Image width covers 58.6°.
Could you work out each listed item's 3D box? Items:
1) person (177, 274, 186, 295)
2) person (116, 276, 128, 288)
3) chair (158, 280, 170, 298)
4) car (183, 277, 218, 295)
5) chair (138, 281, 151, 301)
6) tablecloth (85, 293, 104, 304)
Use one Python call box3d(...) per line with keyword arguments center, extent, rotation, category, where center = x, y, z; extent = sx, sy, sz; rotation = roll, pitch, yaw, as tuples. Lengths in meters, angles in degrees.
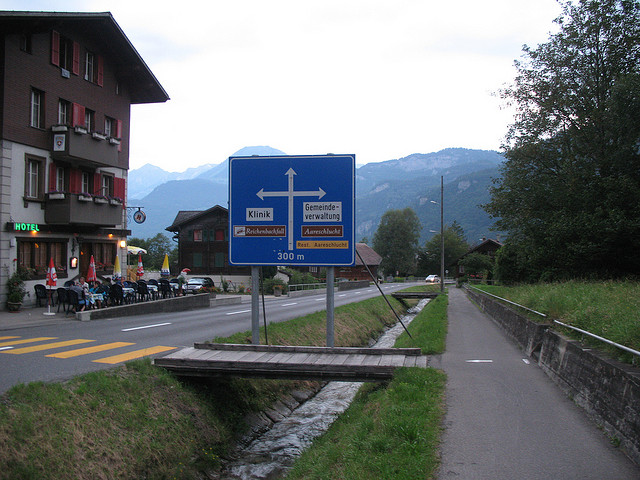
box3d(center=(-8.172, 2.518, 33.301), extent=(0.204, 1.111, 0.881), rotation=(10, 8, -1), category="person")
box3d(center=(-11.036, 2.409, 31.516), extent=(0.861, 0.574, 1.185), rotation=(3, -1, -21), category="person")
box3d(center=(-8.949, 2.911, 32.436), extent=(0.601, 1.069, 1.406), rotation=(8, 8, -14), category="chair")
box3d(center=(-8.781, 3.399, 40.868), extent=(1.159, 1.096, 2.508), rotation=(-4, -14, 13), category="car")
box3d(center=(-9.506, 2.636, 30.416), extent=(0.565, 0.708, 0.719), rotation=(8, 9, -20), category="chair")
box3d(center=(-9.986, 2.600, 25.047), extent=(0.283, 0.408, 0.856), rotation=(14, 8, 21), category="tablecloth")
